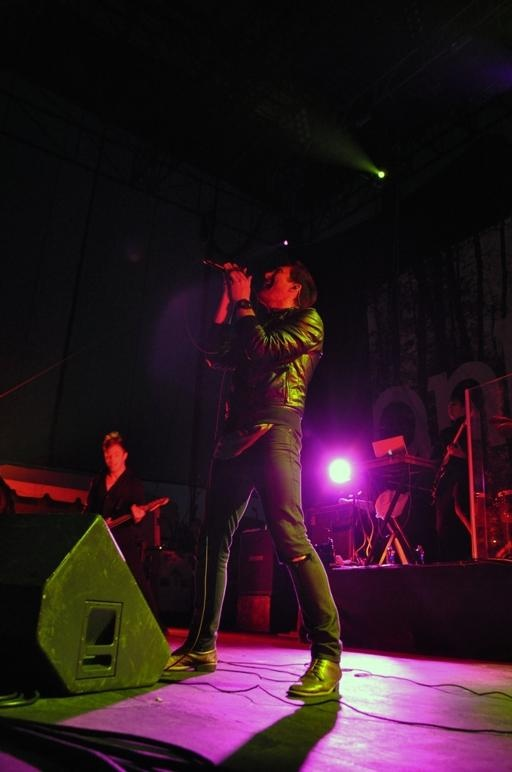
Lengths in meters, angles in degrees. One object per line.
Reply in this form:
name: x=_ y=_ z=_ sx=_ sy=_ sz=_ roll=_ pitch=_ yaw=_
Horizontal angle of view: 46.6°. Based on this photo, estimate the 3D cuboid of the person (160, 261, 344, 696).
person: x=0.025 y=0.203 z=1.932 sx=0.714 sy=1.463 sz=0.453 roll=-5 pitch=-13 yaw=38

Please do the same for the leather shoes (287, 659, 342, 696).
leather shoes: x=0.148 y=0.762 z=1.544 sx=0.065 sy=0.075 sz=0.159 roll=-23 pitch=-40 yaw=28

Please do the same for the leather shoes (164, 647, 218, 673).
leather shoes: x=-0.208 y=0.872 z=1.891 sx=0.154 sy=0.064 sz=0.221 roll=5 pitch=-12 yaw=-5

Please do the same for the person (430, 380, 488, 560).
person: x=1.406 y=0.535 z=4.215 sx=0.313 sy=1.410 sz=1.314 roll=0 pitch=-11 yaw=17

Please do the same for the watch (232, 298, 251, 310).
watch: x=-0.044 y=-0.276 z=2.030 sx=0.042 sy=0.031 sz=0.042 roll=0 pitch=4 yaw=-37
